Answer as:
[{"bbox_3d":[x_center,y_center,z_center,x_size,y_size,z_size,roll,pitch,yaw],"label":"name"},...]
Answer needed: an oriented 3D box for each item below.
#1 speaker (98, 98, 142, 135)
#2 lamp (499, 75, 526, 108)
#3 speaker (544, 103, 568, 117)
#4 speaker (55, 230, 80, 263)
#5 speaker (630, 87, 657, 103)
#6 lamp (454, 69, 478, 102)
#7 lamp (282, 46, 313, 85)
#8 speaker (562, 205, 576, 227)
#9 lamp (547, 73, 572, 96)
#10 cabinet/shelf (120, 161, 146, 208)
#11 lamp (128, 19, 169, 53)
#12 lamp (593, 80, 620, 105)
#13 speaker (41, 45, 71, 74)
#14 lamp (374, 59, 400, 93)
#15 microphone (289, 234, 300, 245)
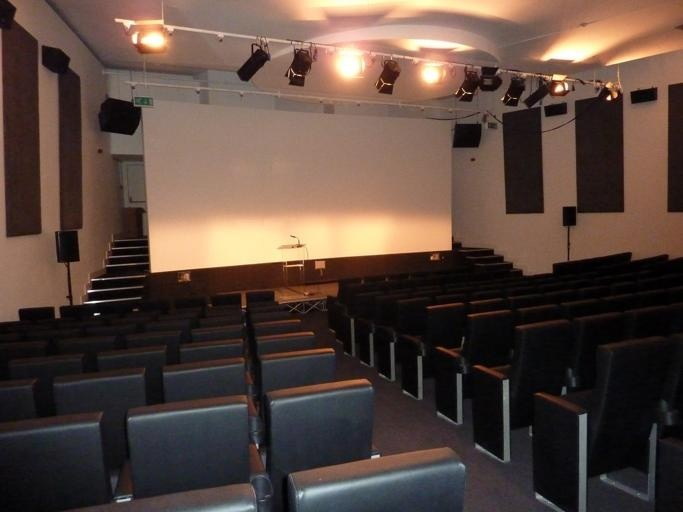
[{"bbox_3d":[-4.050,-2.518,10.011,0.661,0.506,0.669,-26,-19,38],"label":"speaker"},{"bbox_3d":[3.209,-3.086,10.206,0.363,0.439,0.647,-2,4,14],"label":"lamp"},{"bbox_3d":[4.752,-3.242,12.167,0.220,0.301,0.411,-19,21,-33],"label":"speaker"},{"bbox_3d":[-4.336,-0.161,8.681,0.305,0.503,0.389,-5,5,-29],"label":"speaker"},{"bbox_3d":[5.845,-3.096,10.614,0.172,0.276,0.514,-5,4,-24],"label":"speaker"},{"bbox_3d":[2.300,-3.121,9.896,0.372,0.569,0.798,-2,4,15],"label":"lamp"},{"bbox_3d":[-0.637,-2.971,8.430,0.408,0.628,0.716,-3,4,-5],"label":"lamp"},{"bbox_3d":[5.036,-0.873,12.088,0.310,0.465,0.311,-1,5,26],"label":"speaker"},{"bbox_3d":[3.990,-3.160,10.080,0.354,0.370,0.809,-2,5,19],"label":"lamp"},{"bbox_3d":[-5.273,-1.810,13.933,0.536,1.148,0.468,-4,4,-18],"label":"cabinet/shelf"},{"bbox_3d":[-2.482,-2.849,7.143,0.410,0.441,0.471,4,18,17],"label":"lamp"},{"bbox_3d":[5.162,-3.137,10.572,0.442,0.410,1.386,-1,5,27],"label":"lamp"},{"bbox_3d":[-4.488,-3.079,8.627,0.240,0.340,0.590,-3,4,-7],"label":"speaker"},{"bbox_3d":[0.761,-2.987,8.935,0.343,0.527,0.623,-3,4,4],"label":"lamp"},{"bbox_3d":[-1.005,-0.384,12.148,0.263,0.223,0.051,-6,5,-37],"label":"microphone"}]
